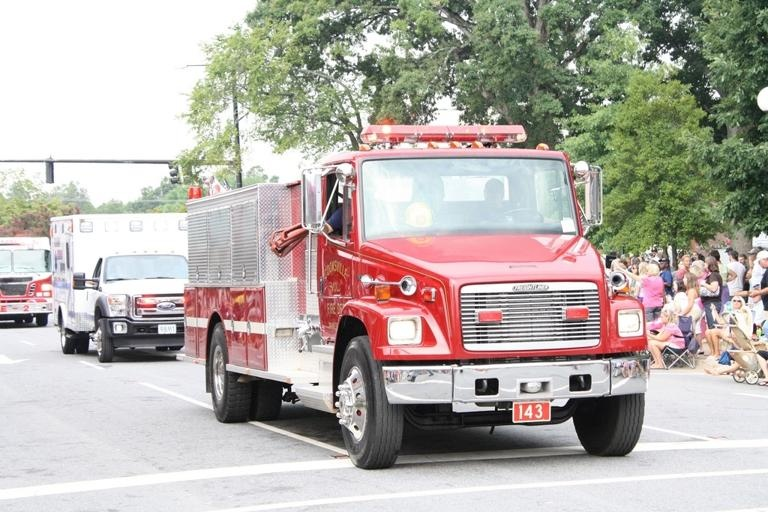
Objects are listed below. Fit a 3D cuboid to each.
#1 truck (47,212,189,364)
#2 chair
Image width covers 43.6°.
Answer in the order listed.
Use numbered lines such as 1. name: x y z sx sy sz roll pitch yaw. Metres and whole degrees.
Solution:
1. truck: -7.147 0.772 25.369 2.510 3.935 5.569 1 -3 -42
2. chair: 6.419 1.654 20.161 1.300 1.328 2.329 -3 -9 20
